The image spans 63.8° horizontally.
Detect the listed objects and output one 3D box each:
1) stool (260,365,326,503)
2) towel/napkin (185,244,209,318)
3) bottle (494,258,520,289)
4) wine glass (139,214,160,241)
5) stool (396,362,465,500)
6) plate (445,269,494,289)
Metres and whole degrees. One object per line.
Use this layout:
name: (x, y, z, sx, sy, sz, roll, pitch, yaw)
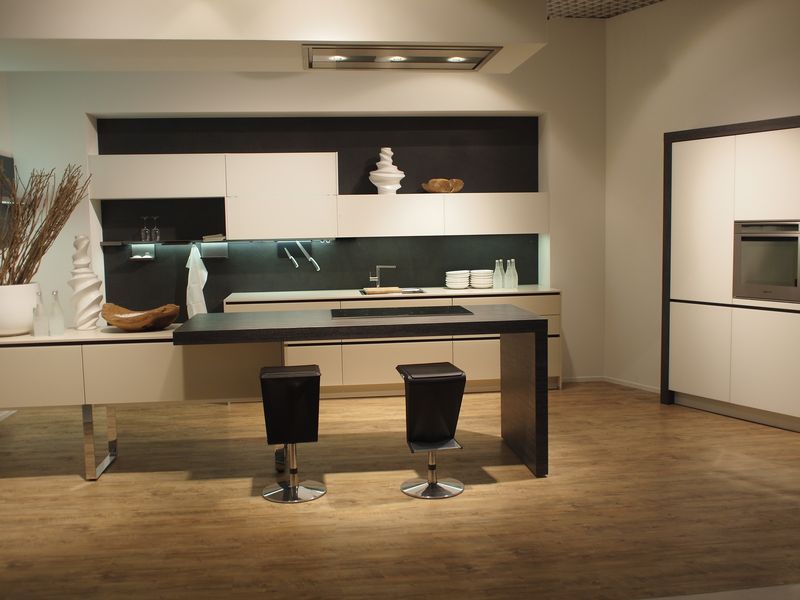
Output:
stool: (-0.742, 0.933, 4.502, 0.451, 0.938, 0.460, -1, 6, -12)
towel/napkin: (-2.186, -0.206, 6.916, 0.235, 0.795, 0.449, -2, 6, -17)
bottle: (1.190, -0.295, 7.269, 0.276, 0.317, 0.483, 1, 6, 10)
wine glass: (-2.693, -0.769, 6.924, 0.200, 0.290, 0.225, -2, 6, -20)
stool: (0.224, 0.926, 4.531, 0.486, 0.916, 0.481, 0, 6, 0)
plate: (0.782, -0.234, 7.225, 0.538, 0.212, 0.360, 0, 5, 3)
